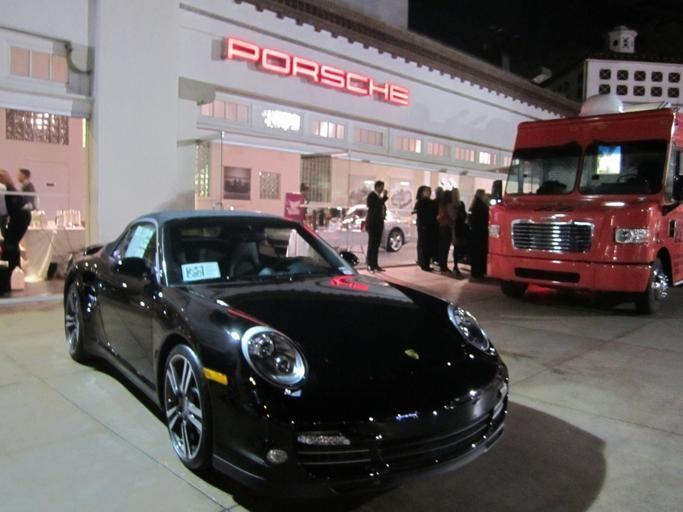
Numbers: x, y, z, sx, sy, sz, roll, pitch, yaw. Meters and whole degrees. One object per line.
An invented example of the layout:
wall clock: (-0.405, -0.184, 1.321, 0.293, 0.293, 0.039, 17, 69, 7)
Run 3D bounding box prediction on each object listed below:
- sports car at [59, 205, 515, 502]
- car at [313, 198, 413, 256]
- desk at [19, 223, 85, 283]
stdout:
sports car: (-0.540, 0.495, 3.545, 3.228, 1.615, 1.642, 7, 9, 42)
car: (0.748, -0.781, 13.041, 2.663, 1.071, 1.192, 2, 2, -41)
desk: (-6.176, -0.095, 9.742, 0.668, 1.107, 1.242, 21, 12, 32)
